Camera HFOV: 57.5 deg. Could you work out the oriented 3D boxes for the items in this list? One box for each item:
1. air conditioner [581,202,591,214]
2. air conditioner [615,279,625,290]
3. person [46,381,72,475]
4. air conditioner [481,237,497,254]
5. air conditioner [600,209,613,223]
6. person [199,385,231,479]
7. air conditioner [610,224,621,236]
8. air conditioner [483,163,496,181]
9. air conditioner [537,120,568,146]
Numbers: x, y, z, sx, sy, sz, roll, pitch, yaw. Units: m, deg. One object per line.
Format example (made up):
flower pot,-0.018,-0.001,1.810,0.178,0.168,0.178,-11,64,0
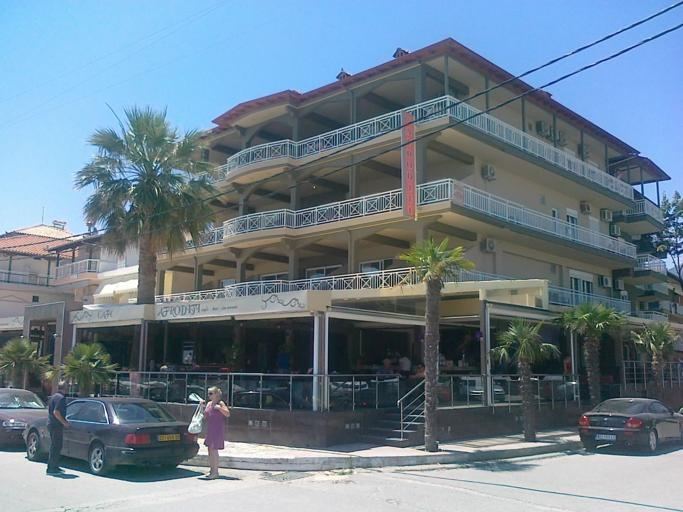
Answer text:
air conditioner,15.200,-3.031,38.672,0.456,0.856,0.885,-12,-19,40
air conditioner,18.313,1.912,41.032,0.586,0.527,0.202,14,-17,-40
person,-7.658,4.668,16.807,0.539,2.359,1.063,7,-16,-23
air conditioner,7.388,-0.533,31.306,0.755,0.657,0.386,9,-14,-38
air conditioner,17.284,-2.642,40.662,0.746,0.674,0.383,16,-21,-42
person,-3.439,4.820,16.982,0.626,2.360,1.260,4,-15,-11
air conditioner,18.399,-1.750,41.816,0.687,0.895,0.352,10,-17,-33
air conditioner,7.507,-4.238,31.546,0.505,0.715,0.800,-12,-19,40
air conditioner,12.187,-7.177,36.183,2.224,0.713,0.307,20,-24,-38
